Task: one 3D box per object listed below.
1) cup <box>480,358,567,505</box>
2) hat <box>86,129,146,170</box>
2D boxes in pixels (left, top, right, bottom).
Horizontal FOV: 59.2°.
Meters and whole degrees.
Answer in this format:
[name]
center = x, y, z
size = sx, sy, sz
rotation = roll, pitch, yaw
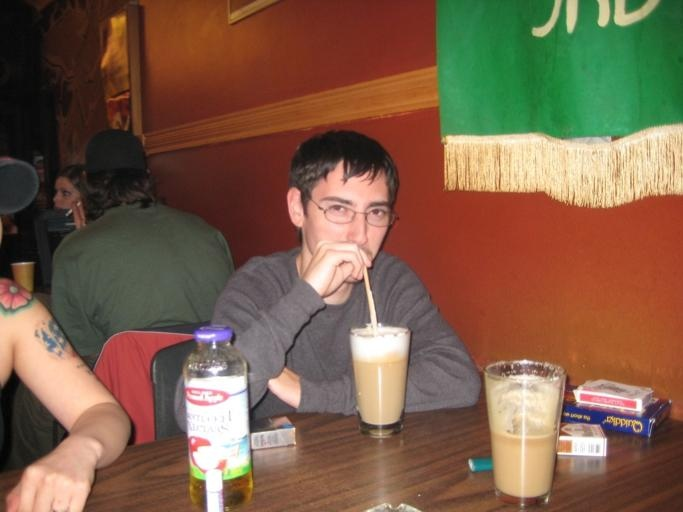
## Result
[cup]
center = 0.429, 0.408, 1.409
size = 0.179, 0.302, 0.129
rotation = -3, 7, -4
[hat]
center = -1.196, -0.553, 3.153
size = 0.229, 0.173, 0.306
rotation = -3, 6, -20
